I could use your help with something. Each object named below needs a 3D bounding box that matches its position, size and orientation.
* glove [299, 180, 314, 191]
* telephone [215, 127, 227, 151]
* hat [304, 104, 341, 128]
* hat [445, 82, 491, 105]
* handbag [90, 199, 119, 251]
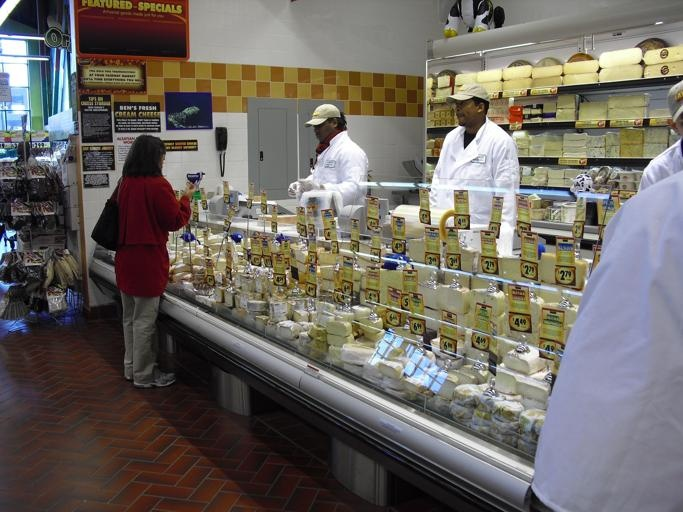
[{"bbox_3d":[-0.276,-0.558,3.615,0.098,0.099,0.075,5,56,-17],"label":"glove"},{"bbox_3d":[-1.594,-1.536,6.010,0.150,0.310,0.065,-7,12,-32],"label":"telephone"},{"bbox_3d":[-0.177,-1.348,4.417,0.339,0.193,0.224,-7,16,-24],"label":"hat"},{"bbox_3d":[1.061,-1.334,3.752,0.274,0.138,0.191,0,12,-11],"label":"hat"},{"bbox_3d":[-1.897,-0.246,3.640,0.253,0.422,0.156,9,14,43],"label":"handbag"}]
